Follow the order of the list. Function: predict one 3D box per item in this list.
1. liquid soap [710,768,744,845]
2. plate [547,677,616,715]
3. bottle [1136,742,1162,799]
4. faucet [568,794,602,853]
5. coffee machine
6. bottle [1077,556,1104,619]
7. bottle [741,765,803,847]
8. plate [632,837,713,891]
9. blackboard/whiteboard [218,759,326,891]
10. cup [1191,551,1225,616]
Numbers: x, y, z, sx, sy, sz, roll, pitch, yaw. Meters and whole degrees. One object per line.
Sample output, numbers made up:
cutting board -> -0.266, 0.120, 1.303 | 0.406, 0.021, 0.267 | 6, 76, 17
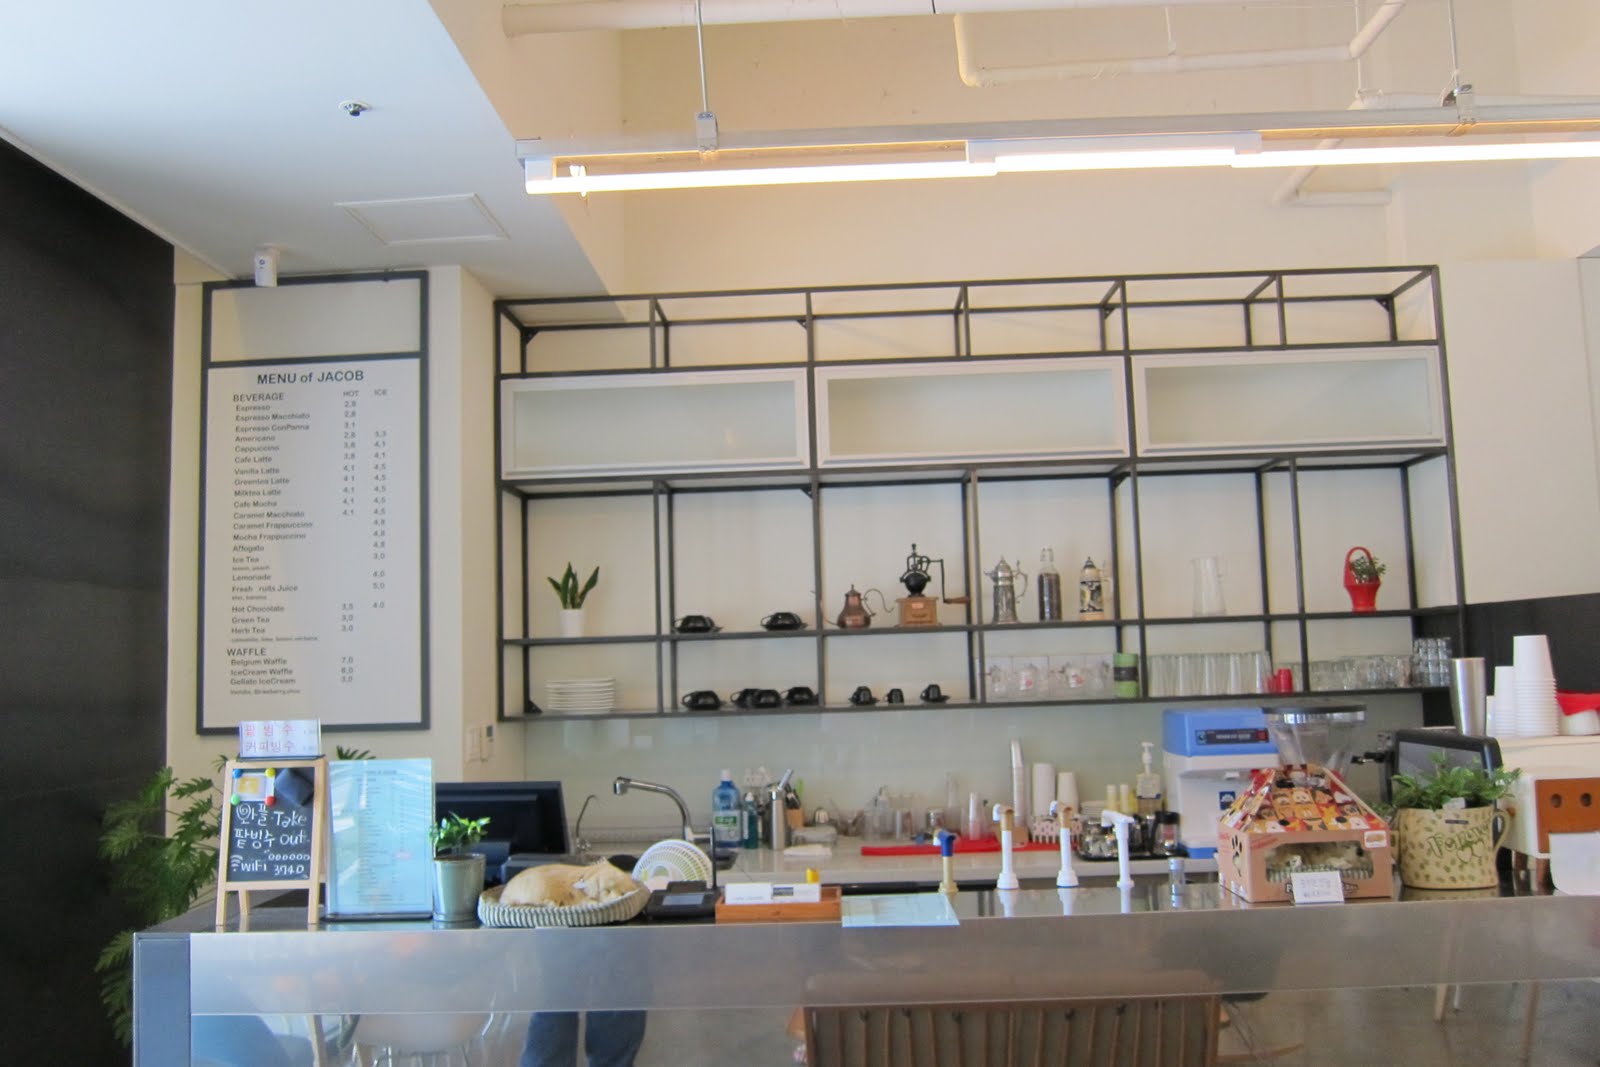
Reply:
liquid soap -> -0.352, 1.321, 6.449 | 0.167, 0.350, 0.115 | 2, -10, -18
plate -> -1.055, 0.794, 6.532 | 0.302, 0.197, 0.282 | 1, -10, -13
bottle -> 1.672, 1.142, 6.534 | 0.121, 0.284, 0.237 | -4, -10, 15
faucet -> -1.067, 1.401, 6.562 | 0.125, 0.269, 0.215 | -2, -10, 0
coffee machine -> 1.952, 1.158, 6.291 | 0.482, 0.652, 0.232 | -5, -10, 16
bottle -> 1.424, 0.270, 6.648 | 0.137, 0.326, 0.237 | -4, -10, 12
bottle -> -0.134, 1.330, 6.542 | 0.260, 0.376, 0.310 | -3, -10, 9
plate -> -0.443, 1.150, 4.693 | 0.236, 0.147, 0.246 | -2, -10, -1
blackboard/whiteboard -> -1.631, 0.903, 4.179 | 0.411, 0.479, 0.033 | 1, -8, 2
cup -> 1.993, 0.264, 6.639 | 0.146, 0.318, 0.227 | -5, -10, 17
